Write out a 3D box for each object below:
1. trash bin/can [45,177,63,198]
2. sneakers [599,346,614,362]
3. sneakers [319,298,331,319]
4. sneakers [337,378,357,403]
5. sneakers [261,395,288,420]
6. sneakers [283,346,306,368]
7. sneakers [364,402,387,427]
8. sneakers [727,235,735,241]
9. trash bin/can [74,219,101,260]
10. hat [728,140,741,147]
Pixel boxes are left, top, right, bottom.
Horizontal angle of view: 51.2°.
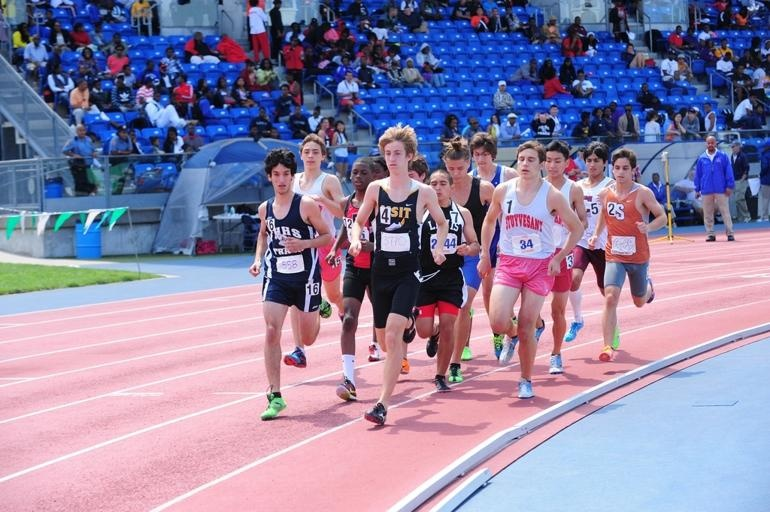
[{"bbox_3d":[-8.199,-1.669,19.877,0.464,0.431,0.462,0,2,10],"label":"trash bin/can"},{"bbox_3d":[2.633,1.185,9.558,0.111,0.117,0.283,-5,-16,17],"label":"sneakers"},{"bbox_3d":[-0.791,0.658,9.997,0.166,0.212,0.316,-1,-13,-6],"label":"sneakers"},{"bbox_3d":[-0.375,1.396,8.187,0.125,0.155,0.324,-5,-28,10],"label":"sneakers"},{"bbox_3d":[-1.069,1.482,7.903,0.143,0.237,0.343,4,8,31],"label":"sneakers"},{"bbox_3d":[-0.949,1.099,8.568,0.132,0.162,0.356,12,-1,10],"label":"sneakers"},{"bbox_3d":[-0.091,1.476,7.520,0.196,0.246,0.263,0,7,-3],"label":"sneakers"},{"bbox_3d":[9.095,-0.450,21.118,0.194,0.183,0.129,-1,-1,0],"label":"sneakers"},{"bbox_3d":[-7.513,-0.381,20.255,0.567,0.927,0.340,-2,7,-16],"label":"trash bin/can"},{"bbox_3d":[10.509,-3.366,24.090,0.365,0.158,0.557,-5,5,23],"label":"hat"}]
